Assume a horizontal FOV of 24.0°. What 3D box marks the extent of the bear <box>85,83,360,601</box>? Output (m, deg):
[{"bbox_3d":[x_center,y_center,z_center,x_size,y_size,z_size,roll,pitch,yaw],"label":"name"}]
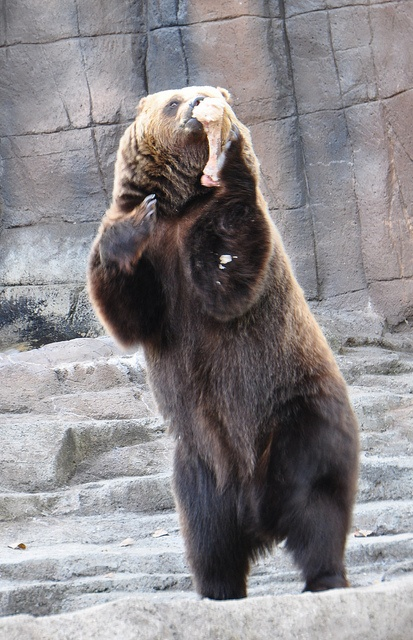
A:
[{"bbox_3d":[0.070,0.076,3.559,0.986,1.877,0.408,2,6,19],"label":"bear"}]
